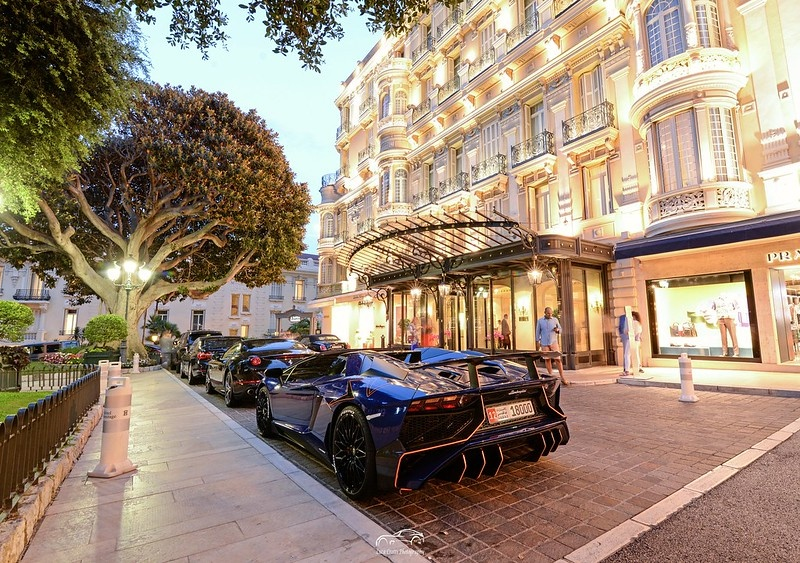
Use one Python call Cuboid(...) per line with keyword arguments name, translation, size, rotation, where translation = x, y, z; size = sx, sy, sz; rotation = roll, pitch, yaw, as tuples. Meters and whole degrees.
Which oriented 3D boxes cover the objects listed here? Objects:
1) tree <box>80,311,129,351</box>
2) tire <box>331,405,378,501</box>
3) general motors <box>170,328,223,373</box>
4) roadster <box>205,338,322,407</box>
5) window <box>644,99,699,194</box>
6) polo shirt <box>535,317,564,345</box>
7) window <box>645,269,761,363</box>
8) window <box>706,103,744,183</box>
Cuboid(name="tree", translation=(-12.584, 2.064, 20.149), size=(1.885, 2.078, 1.857), rotation=(1, 0, -1))
Cuboid(name="tire", translation=(-0.682, 2.479, 6.791), size=(0.357, 1.174, 0.882), rotation=(-15, -17, 28))
Cuboid(name="general motors", translation=(-9.175, 3.115, 20.665), size=(1.866, 1.654, 4.350), rotation=(1, -1, -32))
Cuboid(name="roadster", translation=(-4.039, 2.222, 12.031), size=(1.571, 0.886, 2.860), rotation=(1, -3, -32))
Cuboid(name="window", translation=(9.460, -4.470, 15.912), size=(1.547, 2.669, 0.711), rotation=(4, 7, 38))
Cuboid(name="polo shirt", translation=(4.768, 1.546, 14.765), size=(0.850, 1.036, 0.576), rotation=(-5, -28, 26))
Cuboid(name="window", translation=(10.527, 1.163, 15.878), size=(1.106, 2.979, 3.118), rotation=(3, -6, -40))
Cuboid(name="window", translation=(10.672, -4.515, 15.195), size=(0.802, 2.370, 0.615), rotation=(0, 6, -1))
